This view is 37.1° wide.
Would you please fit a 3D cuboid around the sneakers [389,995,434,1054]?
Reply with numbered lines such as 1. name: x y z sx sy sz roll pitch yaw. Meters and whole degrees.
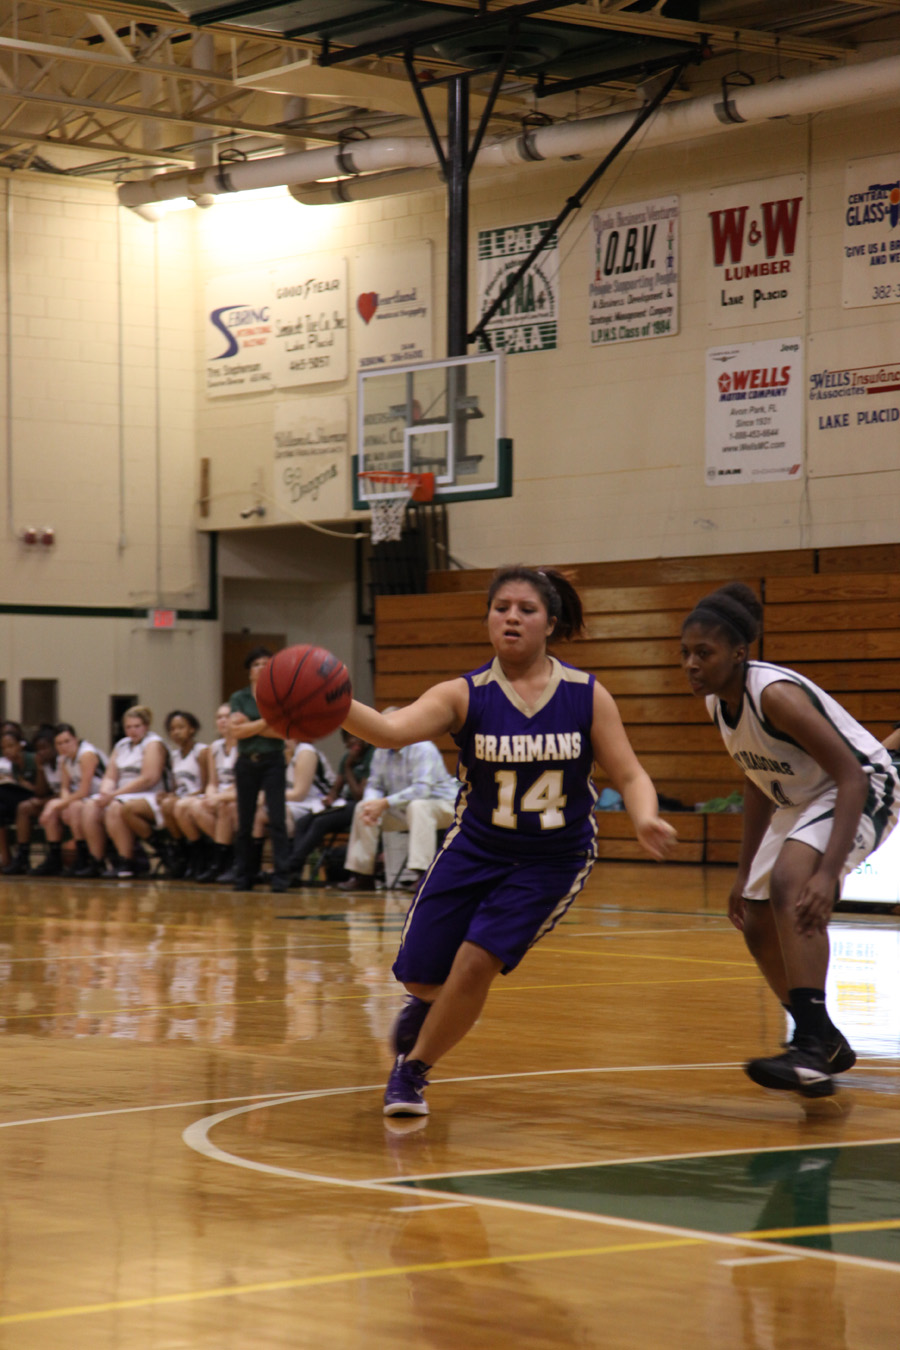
1. sneakers: -0.090 0.767 2.911 0.049 0.086 0.124 11 9 2

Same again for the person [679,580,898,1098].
1. person: 0.761 0.342 3.072 0.494 1.083 0.683 2 4 17

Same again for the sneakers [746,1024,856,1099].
1. sneakers: 0.749 0.838 2.910 0.112 0.126 0.311 1 -6 45

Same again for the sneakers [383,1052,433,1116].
1. sneakers: -0.093 0.851 2.778 0.088 0.121 0.118 1 3 -4

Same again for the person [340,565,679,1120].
1. person: 0.109 0.338 2.819 0.877 1.165 0.718 1 -7 -4

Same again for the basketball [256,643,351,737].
1. basketball: -0.311 0.032 2.670 0.196 0.197 0.187 -4 -10 16
